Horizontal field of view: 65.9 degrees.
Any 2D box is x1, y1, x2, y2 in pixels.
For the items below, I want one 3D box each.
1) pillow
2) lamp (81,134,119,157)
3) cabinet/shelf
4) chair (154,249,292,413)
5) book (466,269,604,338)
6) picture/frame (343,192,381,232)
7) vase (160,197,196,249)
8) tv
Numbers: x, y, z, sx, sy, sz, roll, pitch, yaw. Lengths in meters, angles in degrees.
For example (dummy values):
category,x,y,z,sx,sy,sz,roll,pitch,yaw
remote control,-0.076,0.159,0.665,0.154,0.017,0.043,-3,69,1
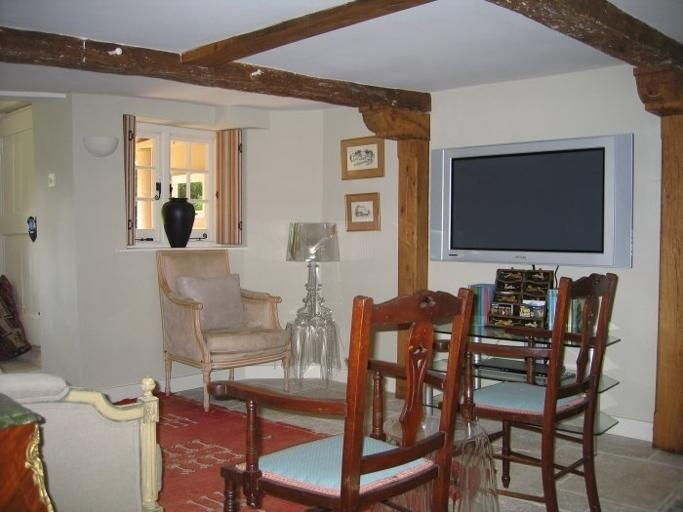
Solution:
category,x,y,z,sx,sy,sz,roll,pitch,yaw
pillow,-1.209,0.432,4.889,0.312,0.538,0.681,16,10,40
lamp,-2.124,-0.964,4.593,0.216,0.134,0.220,3,7,39
cabinet/shelf,1.023,0.774,2.939,1.028,0.512,0.576,2,7,29
chair,-1.084,0.552,4.806,1.249,1.147,1.205,0,0,-4
book,1.305,0.333,3.532,0.487,0.448,0.160,-4,-11,44
picture/frame,0.222,-0.431,5.227,0.413,0.410,0.029,1,3,34
vase,-1.598,-0.316,5.126,0.269,0.493,0.239,6,9,37
tv,1.563,-0.427,4.165,1.161,0.680,0.111,0,2,38
